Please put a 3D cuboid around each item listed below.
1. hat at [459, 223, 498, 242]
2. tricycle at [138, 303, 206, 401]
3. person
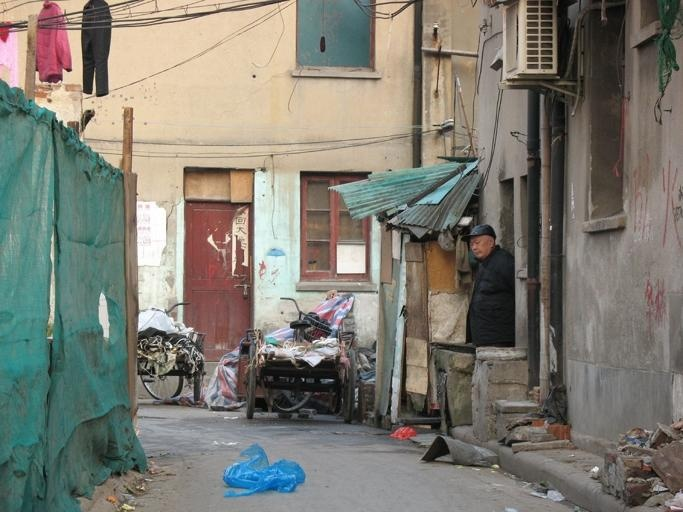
[{"bbox_3d":[1.908,-0.335,18.163,0.331,0.181,0.256,1,-7,-5],"label":"hat"},{"bbox_3d":[-2.818,1.616,22.543,0.870,1.231,1.871,-1,-11,6],"label":"tricycle"},{"bbox_3d":[2.040,0.427,18.074,0.621,1.640,0.477,0,7,7],"label":"person"}]
